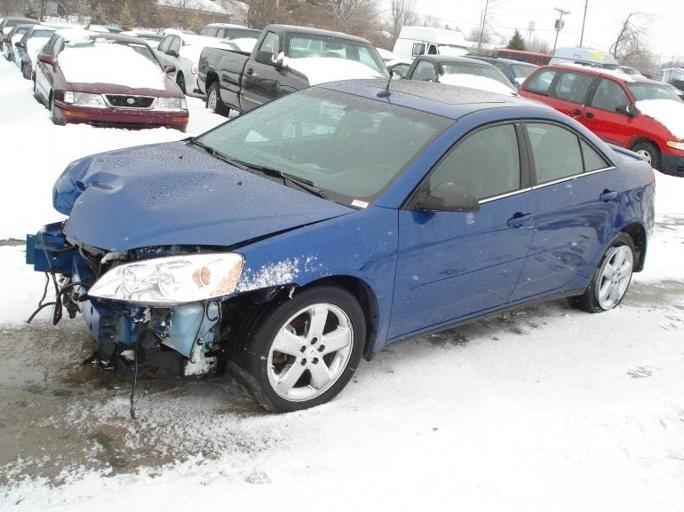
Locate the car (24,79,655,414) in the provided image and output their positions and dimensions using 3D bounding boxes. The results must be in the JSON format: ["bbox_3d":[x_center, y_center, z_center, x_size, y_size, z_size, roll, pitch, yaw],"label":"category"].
[{"bbox_3d":[0.305,-0.344,3.773,4.017,1.360,2.332,-11,28,-28],"label":"car"}]
